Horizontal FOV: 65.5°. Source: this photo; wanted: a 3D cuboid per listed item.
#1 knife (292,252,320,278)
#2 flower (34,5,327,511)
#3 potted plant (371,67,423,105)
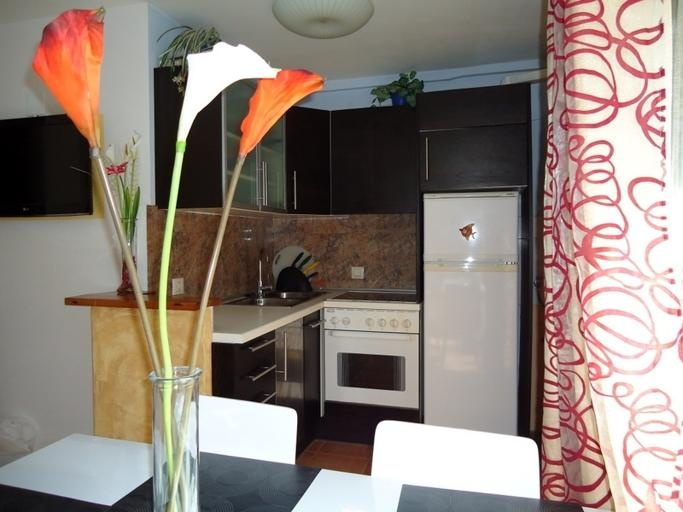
[{"bbox_3d":[-0.280,0.075,4.283,0.193,0.200,0.037,28,-17,-25],"label":"knife"},{"bbox_3d":[-0.375,-0.009,1.232,0.654,1.205,0.300,1,1,-2],"label":"flower"},{"bbox_3d":[0.396,-1.166,3.823,0.315,0.179,0.327,-2,5,-18],"label":"potted plant"}]
